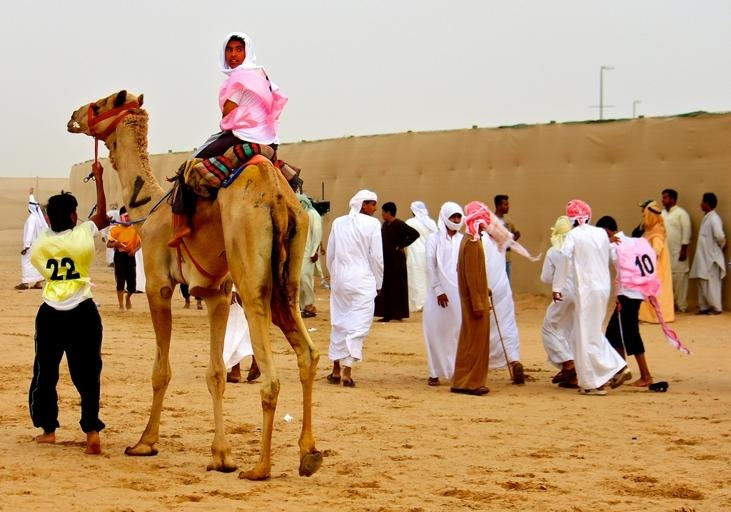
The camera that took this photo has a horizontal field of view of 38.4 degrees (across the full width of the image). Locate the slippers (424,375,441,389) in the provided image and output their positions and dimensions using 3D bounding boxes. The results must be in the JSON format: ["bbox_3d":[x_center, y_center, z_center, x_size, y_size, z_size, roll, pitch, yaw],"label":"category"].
[{"bbox_3d":[0.899,1.667,13.670,0.078,0.154,0.219,-3,-7,41],"label":"slippers"}]

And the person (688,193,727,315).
[{"bbox_3d":[6.291,-0.037,19.146,0.619,2.219,0.519,5,8,32],"label":"person"}]

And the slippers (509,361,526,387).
[{"bbox_3d":[2.031,1.514,13.707,0.136,0.280,0.407,3,15,2],"label":"slippers"}]

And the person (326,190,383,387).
[{"bbox_3d":[-0.122,0.435,14.213,0.759,2.763,0.964,12,-14,-27],"label":"person"}]

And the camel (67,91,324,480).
[{"bbox_3d":[-1.793,0.593,11.227,2.035,3.592,4.124,-3,15,-20],"label":"camel"}]

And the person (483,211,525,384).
[{"bbox_3d":[2.535,-0.096,18.512,0.476,1.899,0.598,-4,3,26],"label":"person"}]

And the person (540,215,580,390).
[{"bbox_3d":[2.572,0.591,13.841,0.507,2.226,0.835,1,-1,-22],"label":"person"}]

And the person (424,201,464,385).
[{"bbox_3d":[0.992,0.517,13.865,0.757,2.069,0.755,0,0,-42],"label":"person"}]

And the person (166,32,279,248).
[{"bbox_3d":[-1.208,-0.847,9.693,0.789,1.806,0.679,-11,21,-32],"label":"person"}]

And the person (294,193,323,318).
[{"bbox_3d":[-0.997,0.007,18.920,0.617,2.699,0.682,-3,19,-21],"label":"person"}]

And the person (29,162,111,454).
[{"bbox_3d":[-3.019,0.493,10.574,1.031,2.650,1.038,2,15,-6],"label":"person"}]

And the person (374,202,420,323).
[{"bbox_3d":[0.477,0.095,19.040,0.736,2.191,0.863,4,-10,-32],"label":"person"}]

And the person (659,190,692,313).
[{"bbox_3d":[5.709,-0.084,19.574,0.588,2.222,0.847,-4,1,-35],"label":"person"}]

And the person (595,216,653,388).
[{"bbox_3d":[3.361,0.574,13.947,1.124,2.152,0.905,3,4,41],"label":"person"}]

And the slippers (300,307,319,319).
[{"bbox_3d":[-1.038,1.071,19.427,0.126,0.155,0.354,0,-6,22],"label":"slippers"}]

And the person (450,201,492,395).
[{"bbox_3d":[1.383,0.545,13.290,0.486,2.358,0.696,1,-3,5],"label":"person"}]

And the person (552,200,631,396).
[{"bbox_3d":[2.898,0.535,13.270,0.917,2.439,1.038,-2,-5,24],"label":"person"}]
